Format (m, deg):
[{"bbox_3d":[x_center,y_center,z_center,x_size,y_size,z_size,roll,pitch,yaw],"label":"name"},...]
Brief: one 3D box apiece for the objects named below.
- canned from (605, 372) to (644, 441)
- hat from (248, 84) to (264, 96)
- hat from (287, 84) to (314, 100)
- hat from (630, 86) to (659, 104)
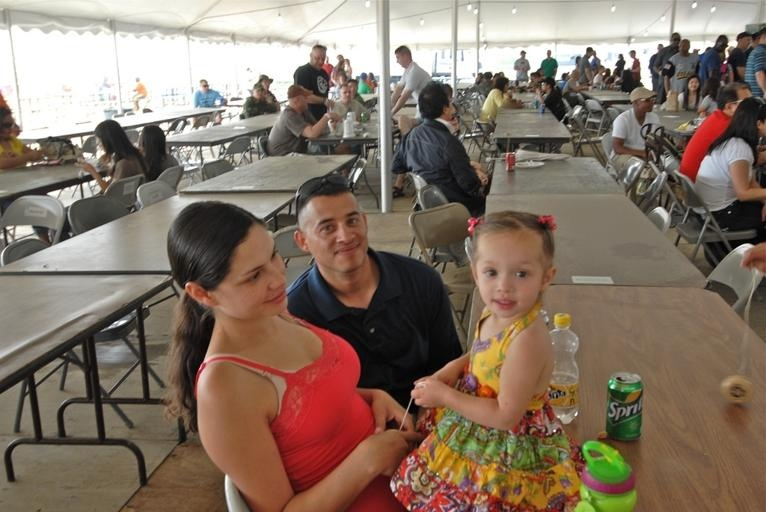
[{"bbox_3d":[0.710,0.441,1.498,0.104,0.168,0.138,6,21,25],"label":"canned"},{"bbox_3d":[-2.824,-3.740,11.526,0.400,0.207,0.401,0,14,-2],"label":"hat"},{"bbox_3d":[-1.224,-2.430,7.512,0.299,0.166,0.194,-21,31,-28],"label":"hat"},{"bbox_3d":[3.303,-2.051,6.458,0.283,0.158,0.210,-14,17,10],"label":"hat"}]
